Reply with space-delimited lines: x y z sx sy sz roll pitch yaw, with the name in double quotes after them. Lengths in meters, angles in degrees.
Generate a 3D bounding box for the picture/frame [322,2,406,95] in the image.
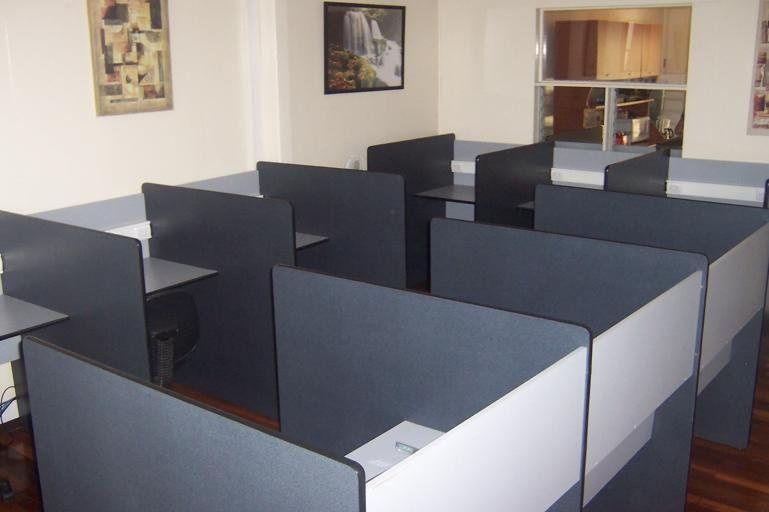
-0.221 -1.957 5.690 0.957 0.729 0.035 -12 18 -42 "picture/frame"
